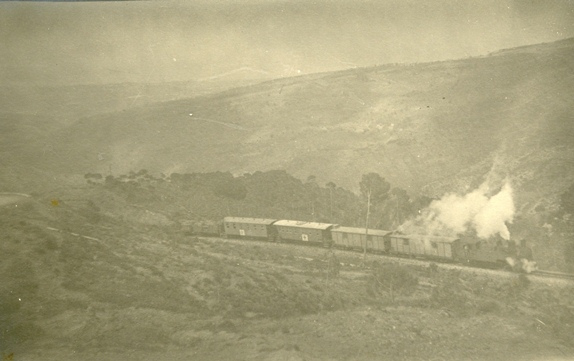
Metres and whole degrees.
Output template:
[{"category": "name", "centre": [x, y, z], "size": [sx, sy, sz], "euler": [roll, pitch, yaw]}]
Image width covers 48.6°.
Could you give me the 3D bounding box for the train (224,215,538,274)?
[{"category": "train", "centre": [3.650, 2.351, 22.281], "size": [11.398, 1.543, 1.331], "euler": [3, 10, 18]}]
